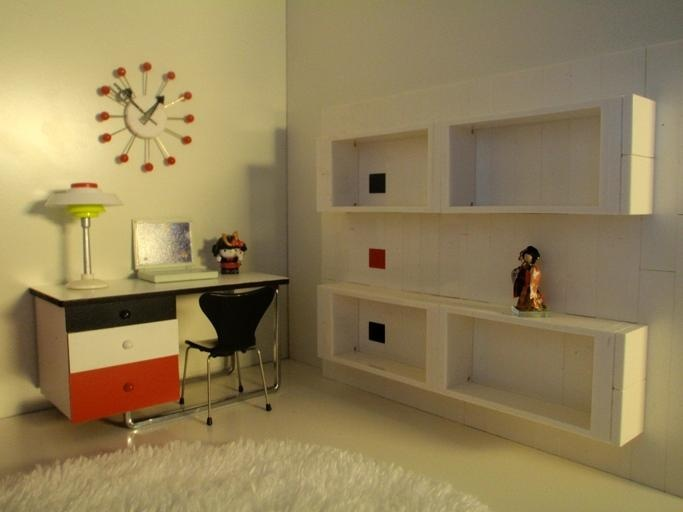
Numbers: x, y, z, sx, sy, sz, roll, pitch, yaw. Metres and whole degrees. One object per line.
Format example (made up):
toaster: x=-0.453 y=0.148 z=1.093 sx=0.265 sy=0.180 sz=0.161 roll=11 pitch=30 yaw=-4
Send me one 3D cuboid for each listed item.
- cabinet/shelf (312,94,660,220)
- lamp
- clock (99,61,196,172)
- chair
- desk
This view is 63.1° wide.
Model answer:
cabinet/shelf: x=0.794 y=-0.565 z=3.361 sx=1.959 sy=0.677 sz=0.467 roll=7 pitch=12 yaw=32
lamp: x=-1.670 y=-0.129 z=3.628 sx=0.452 sy=0.683 sz=0.458 roll=-2 pitch=-1 yaw=17
clock: x=-1.437 y=-1.020 z=4.020 sx=0.803 sy=0.915 sz=0.096 roll=-4 pitch=5 yaw=-43
chair: x=-0.703 y=0.619 z=3.630 sx=0.449 sy=0.775 sz=0.449 roll=-6 pitch=1 yaw=-25
desk: x=-1.285 y=0.603 z=3.731 sx=1.264 sy=0.890 sz=0.650 roll=-8 pitch=13 yaw=-37
